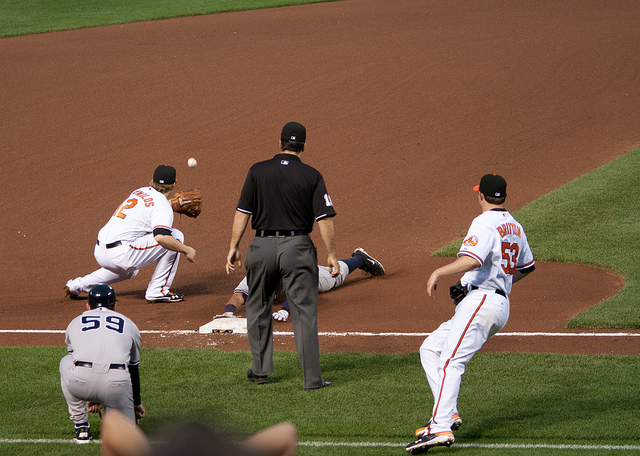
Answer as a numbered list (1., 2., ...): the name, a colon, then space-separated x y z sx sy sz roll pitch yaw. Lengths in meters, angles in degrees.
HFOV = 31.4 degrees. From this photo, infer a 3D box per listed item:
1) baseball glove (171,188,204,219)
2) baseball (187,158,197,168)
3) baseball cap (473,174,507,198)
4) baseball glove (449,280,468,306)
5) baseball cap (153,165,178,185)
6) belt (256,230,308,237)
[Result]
1. baseball glove: -2.297 -0.419 19.221 0.492 0.437 0.337 0 -5 -2
2. baseball: -2.619 -1.306 22.896 0.209 0.179 0.191 5 4 -12
3. baseball cap: 2.294 -0.550 15.180 0.401 0.315 0.213 -1 -5 9
4. baseball glove: 1.887 0.869 15.183 0.234 0.278 0.109 1 -1 20
5. baseball cap: -2.549 -0.851 18.348 0.354 0.312 0.209 0 -5 -14
6. belt: -0.544 0.074 15.894 0.700 0.095 0.104 -1 -4 3
